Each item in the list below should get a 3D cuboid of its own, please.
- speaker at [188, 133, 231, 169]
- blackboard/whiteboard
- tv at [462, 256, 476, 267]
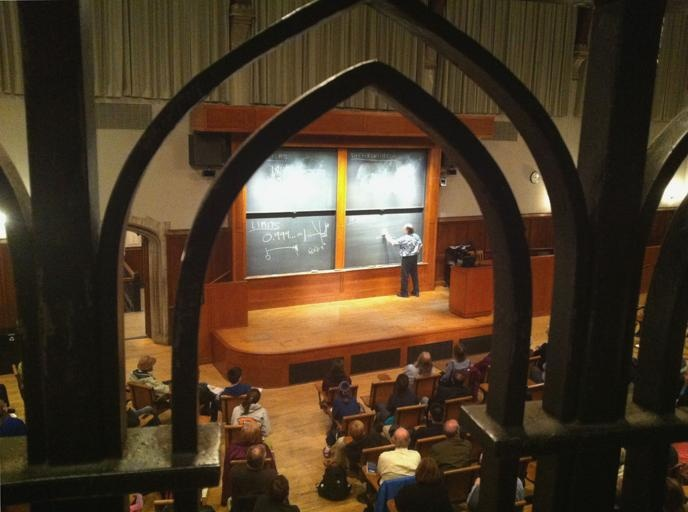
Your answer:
[{"bbox_3d":[-2.406,-1.920,10.713,0.722,0.723,0.414,-3,28,-16],"label":"speaker"},{"bbox_3d":[-0.075,-0.907,12.130,3.820,2.671,0.287,-3,14,-14],"label":"blackboard/whiteboard"},{"bbox_3d":[2.434,0.057,11.797,0.251,0.182,0.180,0,20,-14],"label":"tv"}]
